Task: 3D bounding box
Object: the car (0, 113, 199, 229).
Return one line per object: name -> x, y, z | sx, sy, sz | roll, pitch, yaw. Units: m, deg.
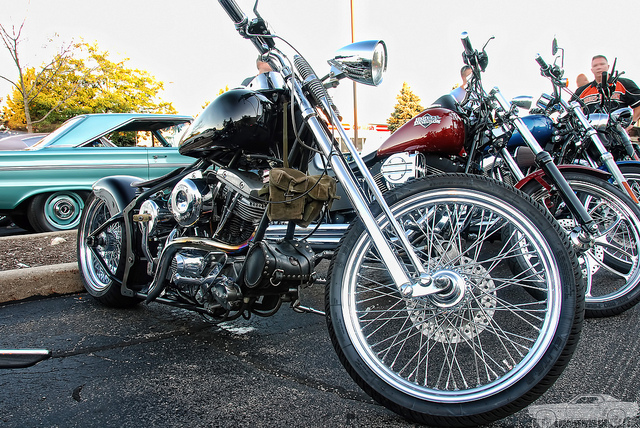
car -> -3.820, -0.872, 8.423 | 4.516, 1.733, 2.529 | -5, 6, -31
